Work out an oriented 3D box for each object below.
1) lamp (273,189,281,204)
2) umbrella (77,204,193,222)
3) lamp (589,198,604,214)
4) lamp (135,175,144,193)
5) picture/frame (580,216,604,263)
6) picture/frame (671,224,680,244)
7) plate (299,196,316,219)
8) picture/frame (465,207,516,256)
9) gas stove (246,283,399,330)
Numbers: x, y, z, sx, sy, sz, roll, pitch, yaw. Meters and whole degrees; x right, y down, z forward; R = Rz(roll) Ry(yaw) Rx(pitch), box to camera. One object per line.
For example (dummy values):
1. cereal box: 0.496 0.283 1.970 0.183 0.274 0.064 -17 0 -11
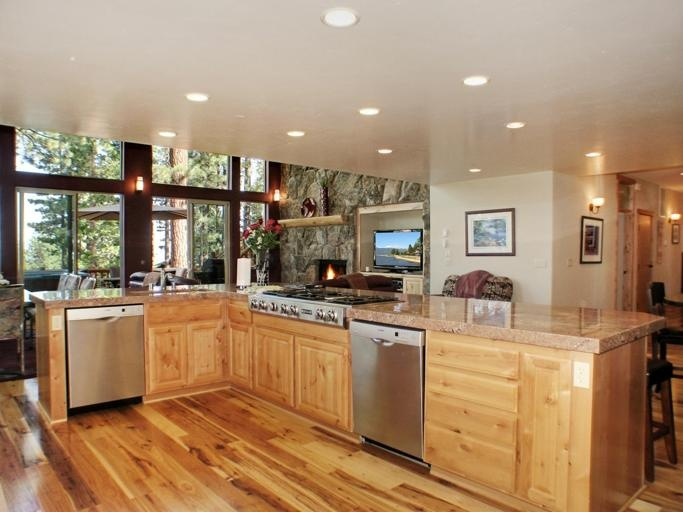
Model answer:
1. lamp: -1.504 -1.401 11.647 0.093 0.325 0.222 6 12 29
2. umbrella: -3.967 -0.805 9.553 0.241 0.343 2.126 8 11 39
3. lamp: 4.090 -0.806 7.987 0.146 0.257 0.553 8 12 37
4. lamp: -3.780 -1.350 9.358 0.136 0.286 0.171 9 14 41
5. picture/frame: 3.995 -0.256 7.954 0.198 0.784 0.874 9 13 39
6. picture/frame: 6.695 -0.448 10.029 0.522 0.508 0.043 0 0 -37
7. plate: -0.707 -1.045 10.799 0.407 0.414 0.117 5 -9 35
8. picture/frame: 2.313 -0.345 7.804 0.038 0.689 0.843 -7 6 -44
9. gas stove: -0.179 0.417 4.418 0.651 0.245 1.257 -8 11 -42
